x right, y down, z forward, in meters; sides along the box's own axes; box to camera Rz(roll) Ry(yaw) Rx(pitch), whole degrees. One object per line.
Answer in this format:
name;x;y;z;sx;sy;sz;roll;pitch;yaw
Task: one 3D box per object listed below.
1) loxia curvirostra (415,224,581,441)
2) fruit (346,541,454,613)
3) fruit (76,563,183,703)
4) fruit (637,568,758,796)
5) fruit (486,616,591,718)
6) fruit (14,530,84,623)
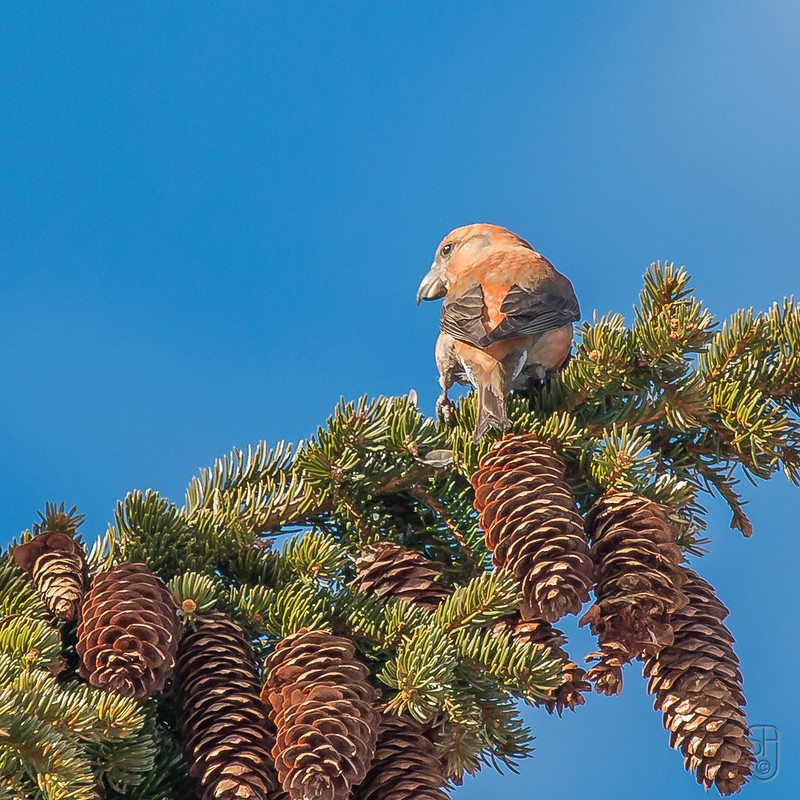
loxia curvirostra;0.163;-0.096;2.994;0.196;0.333;0.465;-7;2;14
fruit;-0.002;0.242;2.649;0.110;0.097;0.093;4;-47;16
fruit;-0.341;0.289;2.440;0.127;0.197;0.066;4;-35;-9
fruit;0.379;0.359;2.529;0.125;0.311;0.099;25;-43;-32
fruit;0.180;0.335;2.477;0.115;0.173;0.102;7;-37;-11
fruit;-0.449;0.239;2.547;0.060;0.063;0.132;4;-70;25
